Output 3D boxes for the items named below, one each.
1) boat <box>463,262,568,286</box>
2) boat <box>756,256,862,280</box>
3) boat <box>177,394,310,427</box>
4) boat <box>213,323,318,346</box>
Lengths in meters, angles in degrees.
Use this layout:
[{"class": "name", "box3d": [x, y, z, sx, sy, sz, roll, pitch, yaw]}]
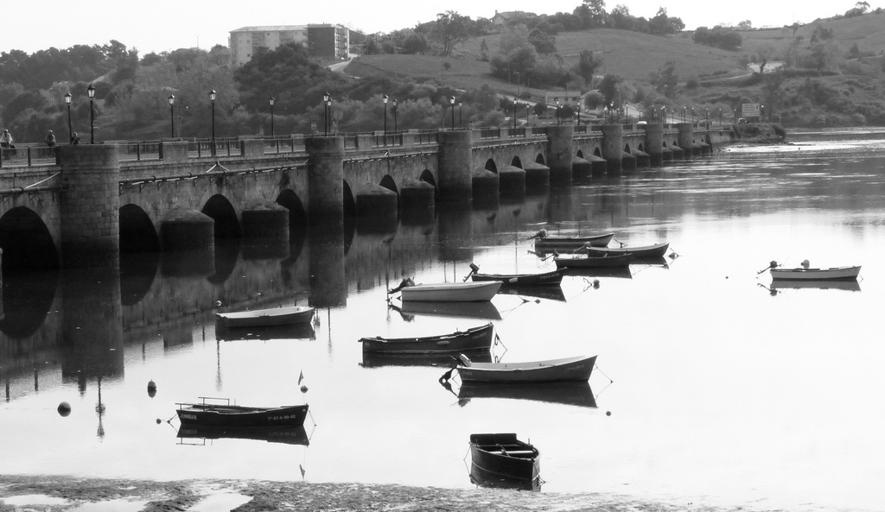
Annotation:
[{"class": "boat", "box3d": [3.118, 1.223, 76.167, 5.699, 1.526, 1.629, -2, 7, 10]}, {"class": "boat", "box3d": [19.383, 0.880, 76.275, 6.017, 1.218, 1.582, -1, 1, 5]}, {"class": "boat", "box3d": [-8.375, 6.792, 62.443, 5.377, 1.204, 1.864, 0, 2, 6]}, {"class": "boat", "box3d": [-8.164, 3.663, 68.969, 2.815, 0.524, 1.656, -2, 10, -4]}]
